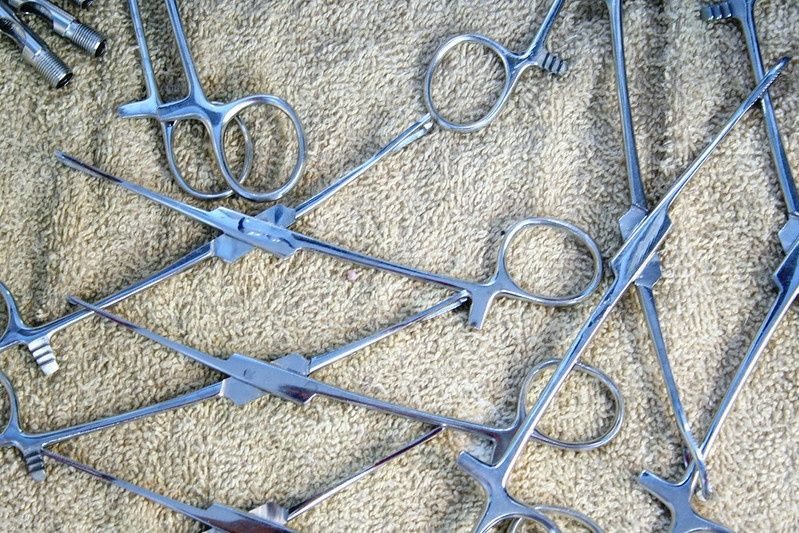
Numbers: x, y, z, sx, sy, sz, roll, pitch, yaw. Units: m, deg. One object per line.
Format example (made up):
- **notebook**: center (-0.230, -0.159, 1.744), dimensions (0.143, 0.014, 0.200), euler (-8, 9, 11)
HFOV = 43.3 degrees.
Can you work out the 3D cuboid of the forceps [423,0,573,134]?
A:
- **forceps**: center (0.179, -0.331, 1.765), dimensions (0.145, 0.014, 0.329), euler (41, -91, 0)
